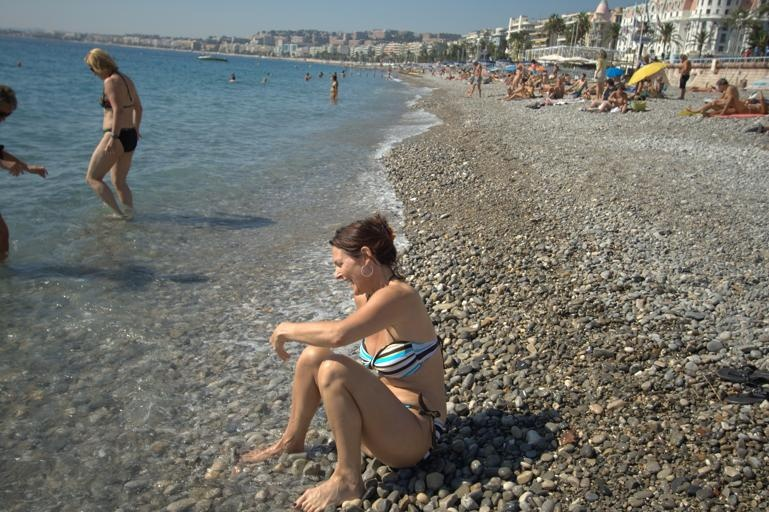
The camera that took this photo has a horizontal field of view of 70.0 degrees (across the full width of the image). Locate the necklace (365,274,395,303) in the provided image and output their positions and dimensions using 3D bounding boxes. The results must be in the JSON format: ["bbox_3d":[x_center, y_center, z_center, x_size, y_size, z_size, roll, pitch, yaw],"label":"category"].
[{"bbox_3d":[-0.082,0.234,4.649,0.299,0.086,0.166,-42,10,0],"label":"necklace"}]
